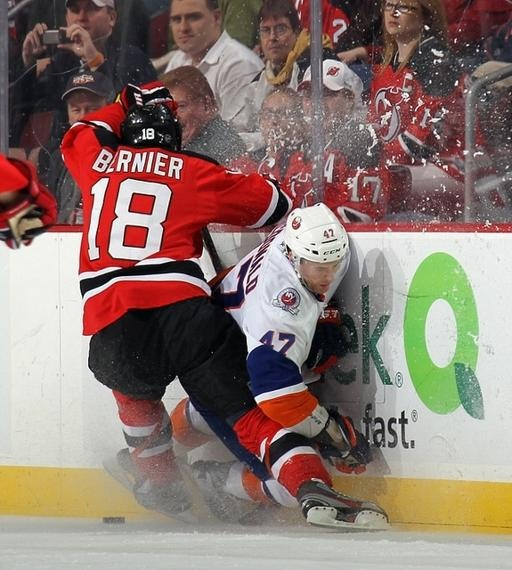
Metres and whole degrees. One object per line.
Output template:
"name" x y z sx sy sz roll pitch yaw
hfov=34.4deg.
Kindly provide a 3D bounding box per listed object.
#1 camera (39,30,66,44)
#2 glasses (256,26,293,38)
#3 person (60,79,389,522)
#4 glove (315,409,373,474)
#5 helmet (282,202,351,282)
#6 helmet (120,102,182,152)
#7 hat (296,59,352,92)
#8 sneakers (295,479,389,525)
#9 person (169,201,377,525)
"camera" -0.955 -1.184 3.959 0.149 0.080 0.079 3 8 17
"glasses" 0.088 -1.123 3.675 0.074 0.022 0.075 -6 -3 24
"person" -0.321 0.112 3.525 1.441 1.886 0.674 1 13 15
"glove" 0.374 0.651 3.549 0.314 0.194 0.138 42 43 -15
"helmet" 0.226 -0.164 3.284 0.248 0.281 0.307 -14 38 -21
"helmet" -0.447 -0.677 3.593 0.248 0.259 0.308 -4 -14 -1
"hat" 0.293 -0.897 3.544 0.175 0.058 0.119 -4 29 -24
"sneakers" 0.355 0.822 3.128 0.365 0.163 0.127 -6 -7 36
"person" 0.060 0.386 3.334 0.814 1.273 1.031 -5 33 -6
